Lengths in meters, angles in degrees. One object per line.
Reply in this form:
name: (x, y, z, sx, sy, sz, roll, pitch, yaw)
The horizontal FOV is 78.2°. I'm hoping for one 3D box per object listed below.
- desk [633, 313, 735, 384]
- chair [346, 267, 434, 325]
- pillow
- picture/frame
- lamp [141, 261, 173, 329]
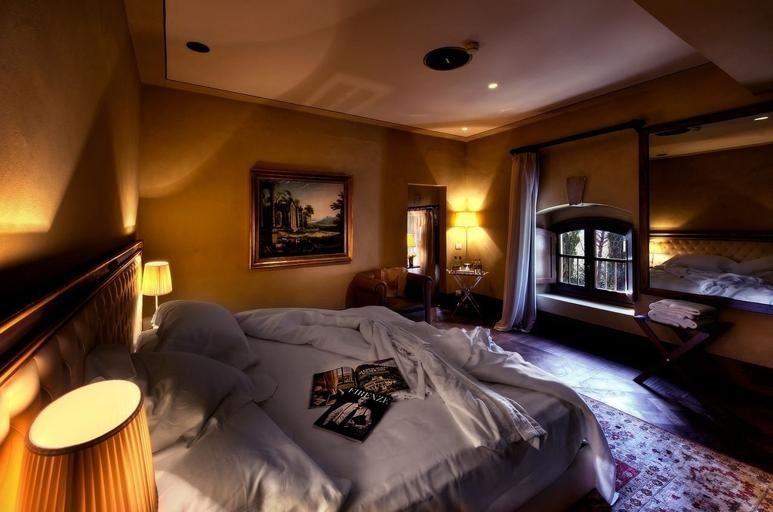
desk: (3.003, 0.978, 4.877, 0.683, 0.697, 0.766, -1, 5, -41)
chair: (0.011, 0.650, 6.383, 0.912, 0.845, 0.846, -1, 6, -34)
pillow: (-1.504, 0.559, 3.962, 0.840, 0.281, 0.899, 13, 7, -39)
picture/frame: (-1.156, -0.466, 5.924, 1.261, 1.254, 0.094, -1, 6, -32)
lamp: (-2.349, 0.420, 4.701, 0.242, 0.700, 0.294, 17, 12, 20)
